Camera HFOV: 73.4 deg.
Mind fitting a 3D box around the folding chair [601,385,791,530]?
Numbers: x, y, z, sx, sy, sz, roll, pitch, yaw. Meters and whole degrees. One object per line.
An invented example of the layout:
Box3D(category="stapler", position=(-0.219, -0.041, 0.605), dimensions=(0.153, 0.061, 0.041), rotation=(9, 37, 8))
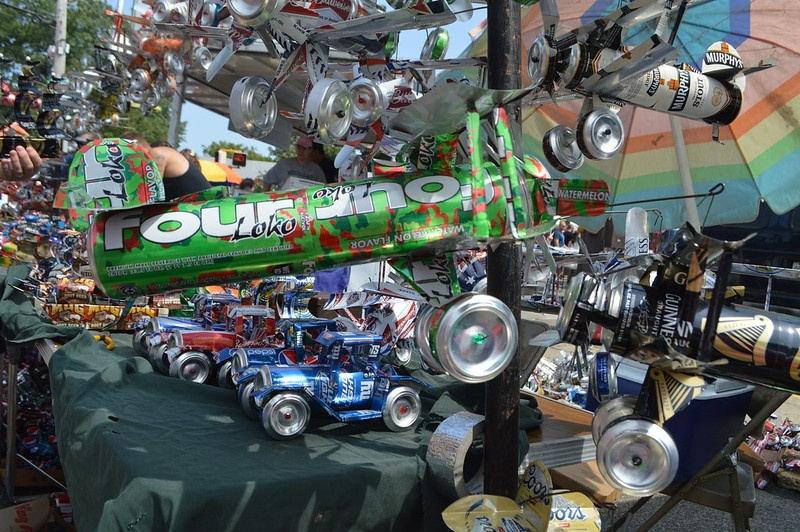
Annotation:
Box3D(category="folding chair", position=(1.640, 1.087, 2.877), dimensions=(0.716, 1.043, 0.347), rotation=(7, 6, 7))
